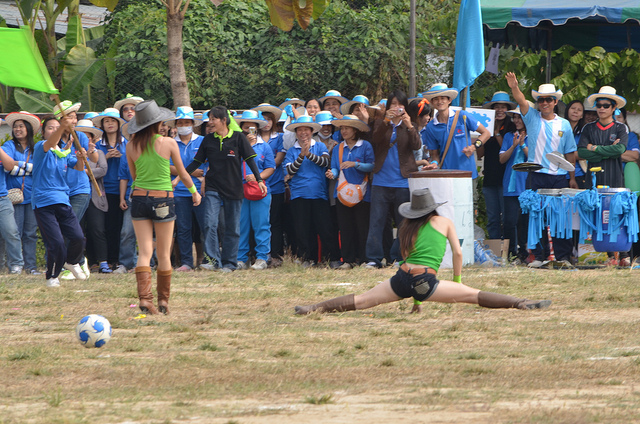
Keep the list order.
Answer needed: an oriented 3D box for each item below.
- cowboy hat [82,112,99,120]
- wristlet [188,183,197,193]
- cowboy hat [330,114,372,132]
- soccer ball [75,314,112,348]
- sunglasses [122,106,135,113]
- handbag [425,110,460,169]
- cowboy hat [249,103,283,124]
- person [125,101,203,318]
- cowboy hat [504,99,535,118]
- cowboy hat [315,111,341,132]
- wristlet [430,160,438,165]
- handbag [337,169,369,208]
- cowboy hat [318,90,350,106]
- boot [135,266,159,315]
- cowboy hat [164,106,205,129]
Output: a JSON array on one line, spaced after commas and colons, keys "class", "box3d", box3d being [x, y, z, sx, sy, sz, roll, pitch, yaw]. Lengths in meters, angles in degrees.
[{"class": "cowboy hat", "box3d": [-3.966, -1.651, 18.267, 0.357, 0.094, 0.324, -2, 0, -20]}, {"class": "wristlet", "box3d": [-1.725, -0.320, 14.282, 0.089, 0.094, 0.094, -49, 30, -18]}, {"class": "cowboy hat", "box3d": [0.478, -1.472, 17.456, 0.391, 0.088, 0.360, 7, -9, 11]}, {"class": "soccer ball", "box3d": [-2.779, 1.423, 12.843, 0.446, 0.368, 0.451, 10, 31, -6]}, {"class": "sunglasses", "box3d": [-3.271, -1.738, 18.068, 0.145, 0.041, 0.132, -2, -26, -1]}, {"class": "handbag", "box3d": [1.978, -1.184, 17.301, 0.472, 0.916, 0.446, 2, 2, 5]}, {"class": "cowboy hat", "box3d": [-0.935, -1.724, 18.451, 0.410, 0.093, 0.372, -4, -17, 6]}, {"class": "person", "box3d": [-2.205, -0.061, 14.058, 0.807, 2.774, 0.908, 4, 17, 22]}, {"class": "cowboy hat", "box3d": [3.268, -1.716, 17.898, 0.359, 0.096, 0.329, -8, -6, -8]}, {"class": "cowboy hat", "box3d": [0.093, -1.530, 17.908, 0.390, 0.129, 0.355, -2, -13, -6]}, {"class": "wristlet", "box3d": [1.848, -0.811, 17.374, 0.099, 0.056, 0.092, 1, 0, 12]}, {"class": "handbag", "box3d": [0.510, -0.364, 17.568, 0.520, 0.546, 0.311, 3, -5, -2]}, {"class": "cowboy hat", "box3d": [0.158, -2.053, 18.596, 0.348, 0.080, 0.322, 9, -16, -30]}, {"class": "boot", "box3d": [-2.307, 1.010, 14.088, 0.248, 0.662, 0.286, -5, 15, -10]}, {"class": "cowboy hat", "box3d": [-2.314, -1.589, 17.794, 0.459, 0.149, 0.375, -3, -3, 23]}]
